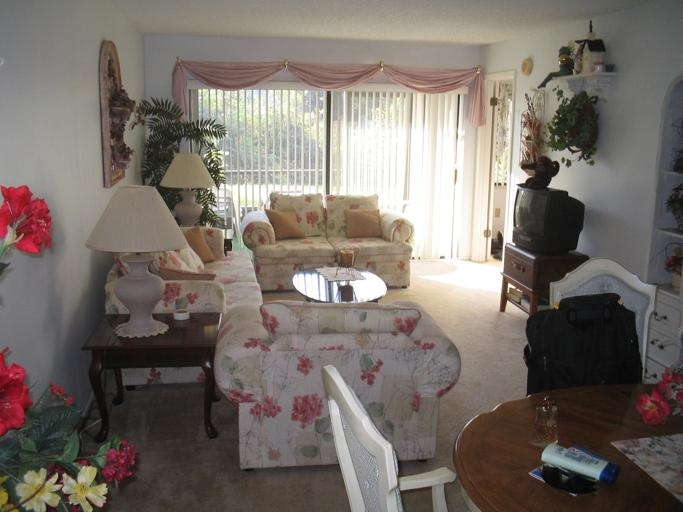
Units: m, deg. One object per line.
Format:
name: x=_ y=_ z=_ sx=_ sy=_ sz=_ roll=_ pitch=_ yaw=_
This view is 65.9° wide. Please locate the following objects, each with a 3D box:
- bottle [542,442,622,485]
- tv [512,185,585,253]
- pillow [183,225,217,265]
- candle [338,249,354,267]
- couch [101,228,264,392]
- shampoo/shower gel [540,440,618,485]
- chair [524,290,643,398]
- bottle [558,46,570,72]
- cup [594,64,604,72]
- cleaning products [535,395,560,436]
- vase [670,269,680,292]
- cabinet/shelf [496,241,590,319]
bottle: x=0.742 y=0.614 z=1.629 sx=0.172 sy=0.050 sz=0.100 roll=13 pitch=21 yaw=30
tv: x=1.879 y=-0.391 z=5.059 sx=0.565 sy=0.668 sz=0.767 roll=-4 pitch=11 yaw=-9
pillow: x=-1.320 y=-0.101 z=4.871 sx=0.111 sy=0.292 sz=0.285 roll=-17 pitch=12 yaw=21
candle: x=0.033 y=0.012 z=4.913 sx=0.147 sy=0.170 sz=0.154 roll=9 pitch=20 yaw=28
couch: x=-1.103 y=0.691 z=4.003 sx=0.884 sy=0.717 sz=1.598 roll=-2 pitch=17 yaw=-10
shampoo/shower gel: x=0.739 y=0.630 z=1.635 sx=0.170 sy=0.049 sz=0.101 roll=14 pitch=22 yaw=30
chair: x=1.108 y=0.455 z=2.452 sx=0.470 sy=0.543 sz=0.316 roll=-3 pitch=6 yaw=-3
bottle: x=2.111 y=-1.881 z=4.969 sx=0.085 sy=0.205 sz=0.191 roll=3 pitch=10 yaw=20
cup: x=2.281 y=-1.662 z=4.645 sx=0.068 sy=0.052 sz=0.069 roll=-2 pitch=8 yaw=0
cleaning products: x=0.718 y=0.569 z=1.822 sx=0.091 sy=0.132 sz=0.091 roll=9 pitch=-16 yaw=7
vase: x=2.343 y=0.165 z=3.684 sx=0.068 sy=0.117 sz=0.138 roll=0 pitch=8 yaw=14
cabinet/shelf: x=1.954 y=0.291 z=5.120 sx=0.610 sy=0.733 sz=0.781 roll=-1 pitch=12 yaw=2
